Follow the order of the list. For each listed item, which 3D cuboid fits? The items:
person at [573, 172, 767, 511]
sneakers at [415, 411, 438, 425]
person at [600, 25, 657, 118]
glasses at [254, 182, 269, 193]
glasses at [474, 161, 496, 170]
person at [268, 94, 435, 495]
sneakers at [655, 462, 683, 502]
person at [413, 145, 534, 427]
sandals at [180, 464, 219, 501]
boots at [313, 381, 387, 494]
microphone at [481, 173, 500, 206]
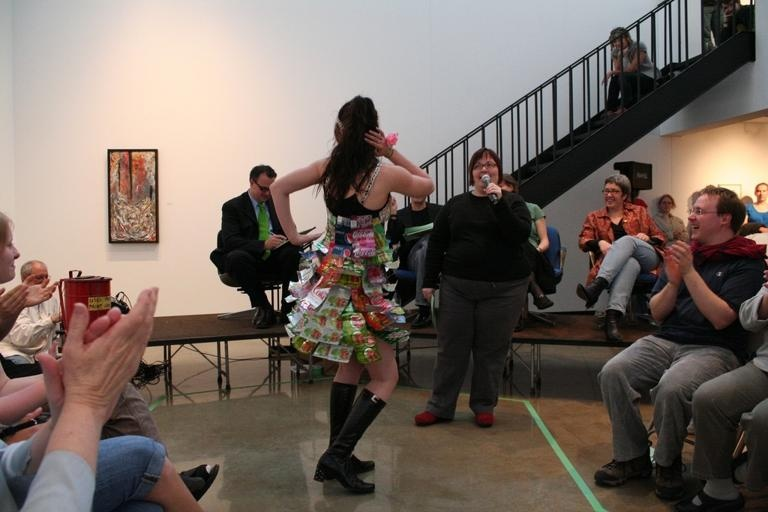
[{"bbox_3d":[1.705,0.620,3.297,0.836,1.430,0.621,-5,7,-38],"label":"person"},{"bbox_3d":[0.306,1.234,4.265,0.165,0.076,0.070,9,-14,-13],"label":"sneakers"},{"bbox_3d":[3.332,-2.492,7.625,0.612,1.267,1.161,1,6,21],"label":"person"},{"bbox_3d":[-1.215,-0.680,5.553,0.132,0.038,0.131,3,34,-41],"label":"glasses"},{"bbox_3d":[0.743,-0.671,4.161,0.153,0.062,0.060,-1,5,1],"label":"glasses"},{"bbox_3d":[-0.182,0.217,3.297,0.897,2.291,0.563,0,6,7],"label":"person"},{"bbox_3d":[1.595,1.238,3.178,0.103,0.108,0.258,-3,32,13],"label":"sneakers"},{"bbox_3d":[0.670,0.203,4.233,0.892,2.063,0.852,0,-3,34],"label":"person"},{"bbox_3d":[-0.885,1.079,2.747,0.087,0.256,0.099,10,32,13],"label":"sandals"},{"bbox_3d":[-0.218,1.056,3.310,0.406,0.618,0.354,-2,6,-10],"label":"boots"},{"bbox_3d":[0.736,-0.476,3.976,0.108,0.212,0.280,0,5,4],"label":"microphone"}]
